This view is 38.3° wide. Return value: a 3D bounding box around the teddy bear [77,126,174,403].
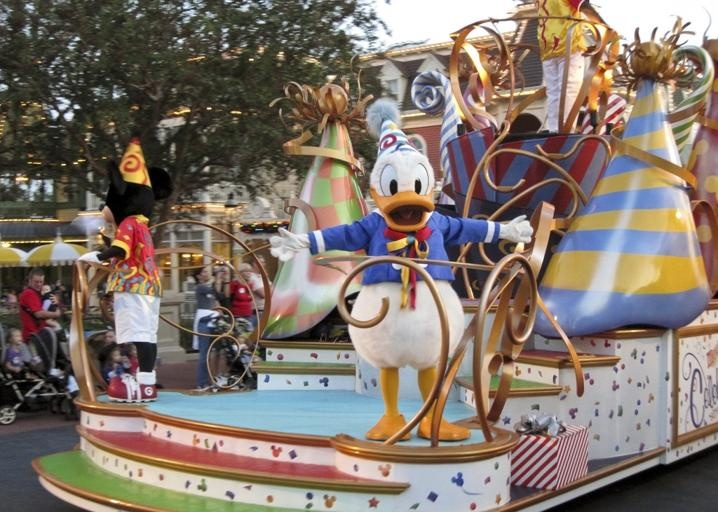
[{"bbox_3d":[-1.950,0.117,8.953,0.616,1.503,0.638,1,0,-5],"label":"teddy bear"}]
